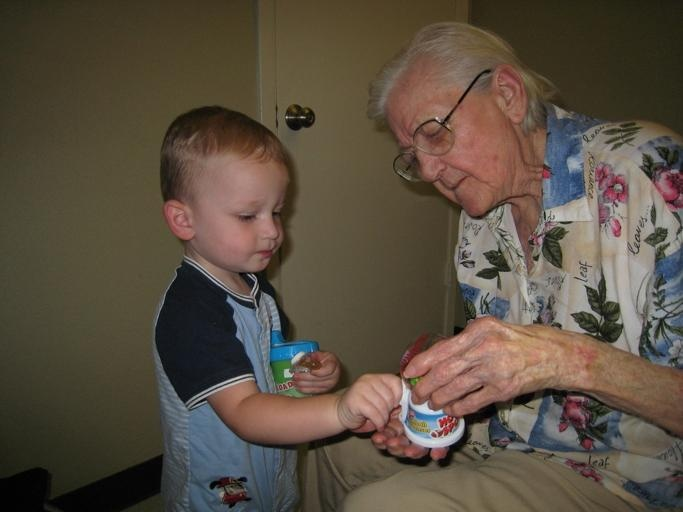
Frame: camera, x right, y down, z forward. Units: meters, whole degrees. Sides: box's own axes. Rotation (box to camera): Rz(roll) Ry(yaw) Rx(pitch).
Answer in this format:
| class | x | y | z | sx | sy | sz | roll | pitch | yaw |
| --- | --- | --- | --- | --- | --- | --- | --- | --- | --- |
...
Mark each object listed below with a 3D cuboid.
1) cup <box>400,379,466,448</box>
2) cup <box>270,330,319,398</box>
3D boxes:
| class | x | y | z | sx | sy | sz | roll | pitch | yaw |
| --- | --- | --- | --- | --- | --- | --- | --- | --- | --- |
| cup | 0.237 | 0.451 | 1.692 | 0.160 | 0.165 | 0.145 | -14 | 10 | 25 |
| cup | -0.161 | 0.317 | 1.793 | 0.153 | 0.151 | 0.130 | -7 | -5 | -44 |
